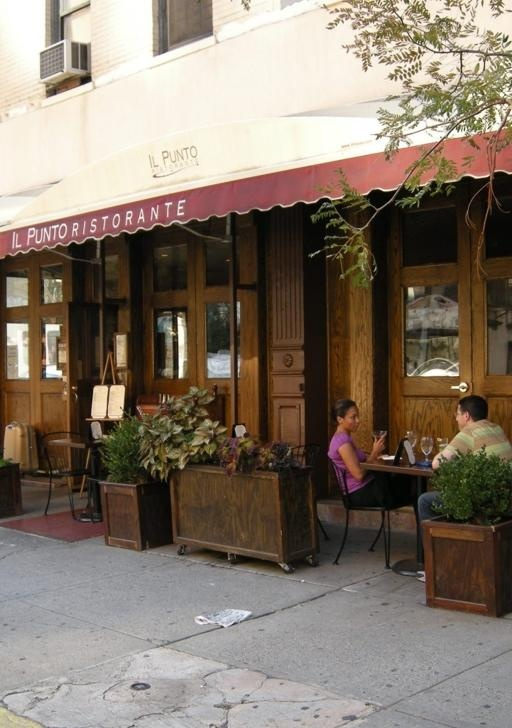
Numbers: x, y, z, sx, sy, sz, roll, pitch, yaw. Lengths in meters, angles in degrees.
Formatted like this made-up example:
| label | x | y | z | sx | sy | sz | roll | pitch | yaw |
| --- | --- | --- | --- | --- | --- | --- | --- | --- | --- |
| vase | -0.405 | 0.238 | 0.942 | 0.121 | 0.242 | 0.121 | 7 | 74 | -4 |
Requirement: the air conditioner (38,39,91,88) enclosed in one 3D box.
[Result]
| label | x | y | z | sx | sy | sz | roll | pitch | yaw |
| --- | --- | --- | --- | --- | --- | --- | --- | --- | --- |
| air conditioner | -3.110 | -4.841 | 11.159 | 0.816 | 0.535 | 0.502 | 3 | 9 | 44 |

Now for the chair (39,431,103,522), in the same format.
| label | x | y | z | sx | sy | sz | roll | pitch | yaw |
| --- | --- | --- | --- | --- | --- | --- | --- | --- | --- |
| chair | -2.384 | 1.479 | 9.102 | 0.788 | 1.159 | 0.846 | 3 | -6 | 9 |

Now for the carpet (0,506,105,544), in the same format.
| label | x | y | z | sx | sy | sz | roll | pitch | yaw |
| --- | --- | --- | --- | --- | --- | --- | --- | --- | --- |
| carpet | -2.162 | 1.771 | 7.571 | 1.616 | 0.088 | 0.864 | -5 | -6 | 43 |

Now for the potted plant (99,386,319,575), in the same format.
| label | x | y | z | sx | sy | sz | roll | pitch | yaw |
| --- | --- | --- | --- | --- | --- | --- | --- | --- | --- |
| potted plant | -0.359 | 0.922 | 5.937 | 1.794 | 1.475 | 0.568 | -5 | -5 | 41 |
